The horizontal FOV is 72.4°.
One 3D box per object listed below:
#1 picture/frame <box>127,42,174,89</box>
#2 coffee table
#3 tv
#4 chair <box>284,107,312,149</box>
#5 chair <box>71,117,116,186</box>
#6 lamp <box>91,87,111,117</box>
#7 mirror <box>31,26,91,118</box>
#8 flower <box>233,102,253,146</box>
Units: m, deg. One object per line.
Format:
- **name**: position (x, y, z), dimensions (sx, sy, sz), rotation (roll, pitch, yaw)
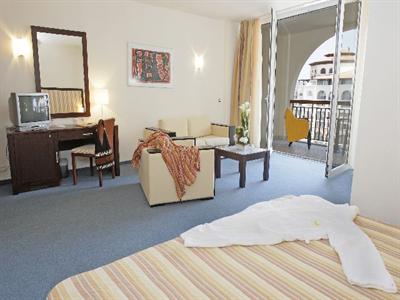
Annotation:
- **picture/frame**: position (-1.029, -1.729, 5.442), dimensions (0.943, 0.848, 0.040), rotation (-7, 13, -36)
- **coffee table**: position (0.692, 0.193, 4.590), dimensions (0.668, 0.597, 0.781), rotation (-12, 19, -39)
- **tv**: position (-2.542, -0.574, 4.049), dimensions (0.313, 0.608, 0.513), rotation (8, 11, 34)
- **chair**: position (2.525, -0.622, 7.045), dimensions (0.581, 0.993, 0.660), rotation (3, 12, 22)
- **chair**: position (-1.735, -0.027, 4.464), dimensions (0.721, 1.065, 0.759), rotation (-6, 14, -33)
- **lamp**: position (-1.794, -0.854, 4.927), dimensions (0.336, 0.558, 0.355), rotation (-5, 15, -21)
- **mirror**: position (-2.276, -1.340, 4.498), dimensions (0.838, 1.571, 0.027), rotation (-2, -15, -27)
- **flower**: position (0.729, -0.478, 4.609), dimensions (0.238, 0.694, 0.552), rotation (3, 15, 9)
